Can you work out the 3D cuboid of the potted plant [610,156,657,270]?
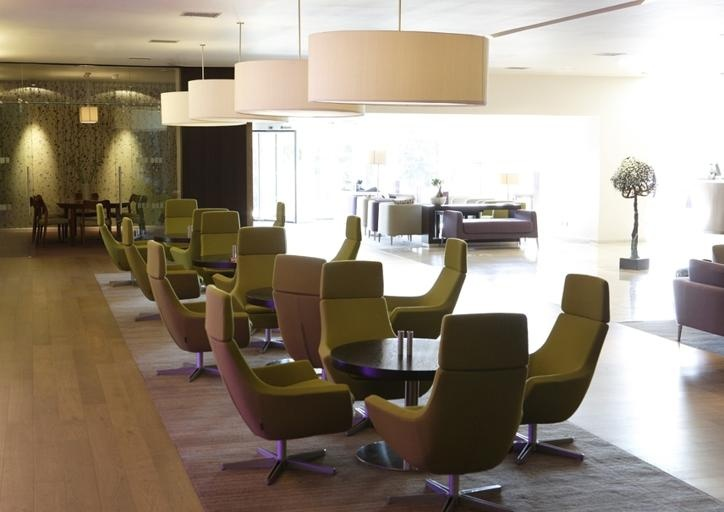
[{"bbox_3d":[5.596,-0.918,12.054,0.819,2.223,1.465,5,10,25],"label":"potted plant"}]

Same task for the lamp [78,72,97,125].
[{"bbox_3d":[-6.429,-3.734,13.738,0.384,1.100,0.694,-6,11,-34],"label":"lamp"}]

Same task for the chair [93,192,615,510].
[{"bbox_3d":[0.220,0.821,4.089,2.504,1.328,1.862,7,11,32],"label":"chair"}]
